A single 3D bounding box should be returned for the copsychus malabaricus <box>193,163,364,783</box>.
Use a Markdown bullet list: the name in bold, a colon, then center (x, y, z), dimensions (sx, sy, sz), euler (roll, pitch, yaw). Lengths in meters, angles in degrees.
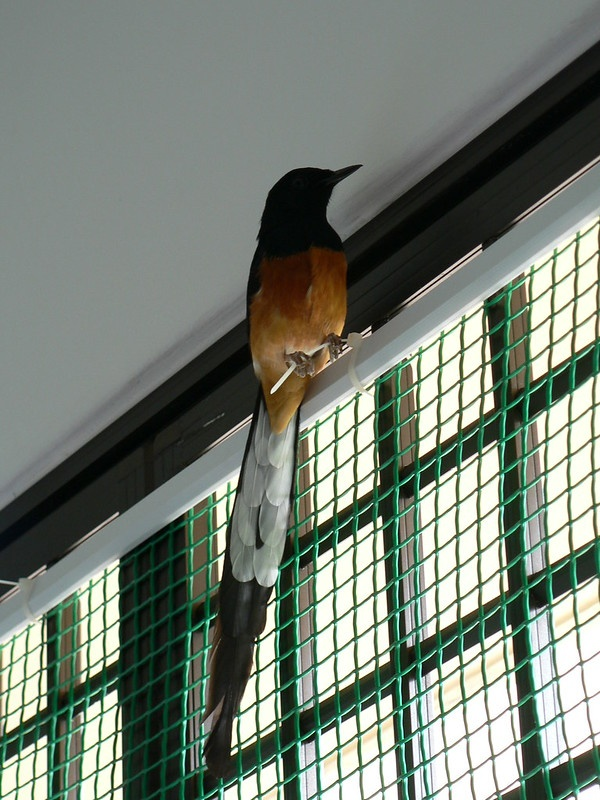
- **copsychus malabaricus**: center (0.042, 0.080, 3.642), dimensions (0.199, 1.181, 0.268), euler (15, -16, -27)
